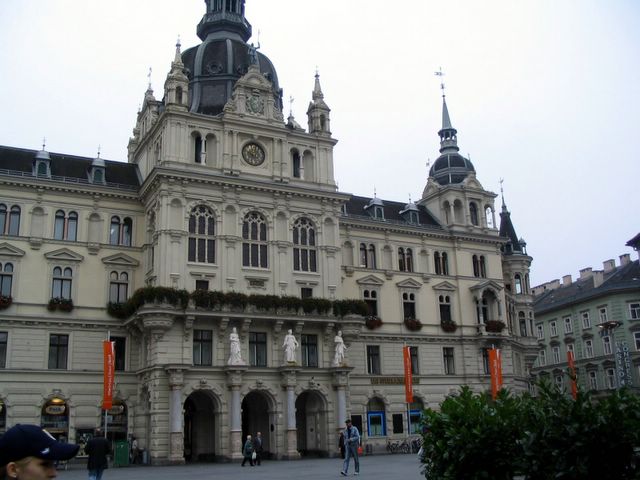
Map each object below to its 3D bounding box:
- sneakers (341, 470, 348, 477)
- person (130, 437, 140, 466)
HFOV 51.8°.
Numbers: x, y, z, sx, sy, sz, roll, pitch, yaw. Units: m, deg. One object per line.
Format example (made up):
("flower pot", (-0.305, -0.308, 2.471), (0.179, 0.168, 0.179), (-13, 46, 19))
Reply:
("sneakers", (1.043, 10.283, 28.943), (0.136, 0.182, 0.425), (-5, -43, 14))
("person", (-11.619, 13.422, 41.748), (0.577, 0.988, 1.361), (8, -5, -20))
